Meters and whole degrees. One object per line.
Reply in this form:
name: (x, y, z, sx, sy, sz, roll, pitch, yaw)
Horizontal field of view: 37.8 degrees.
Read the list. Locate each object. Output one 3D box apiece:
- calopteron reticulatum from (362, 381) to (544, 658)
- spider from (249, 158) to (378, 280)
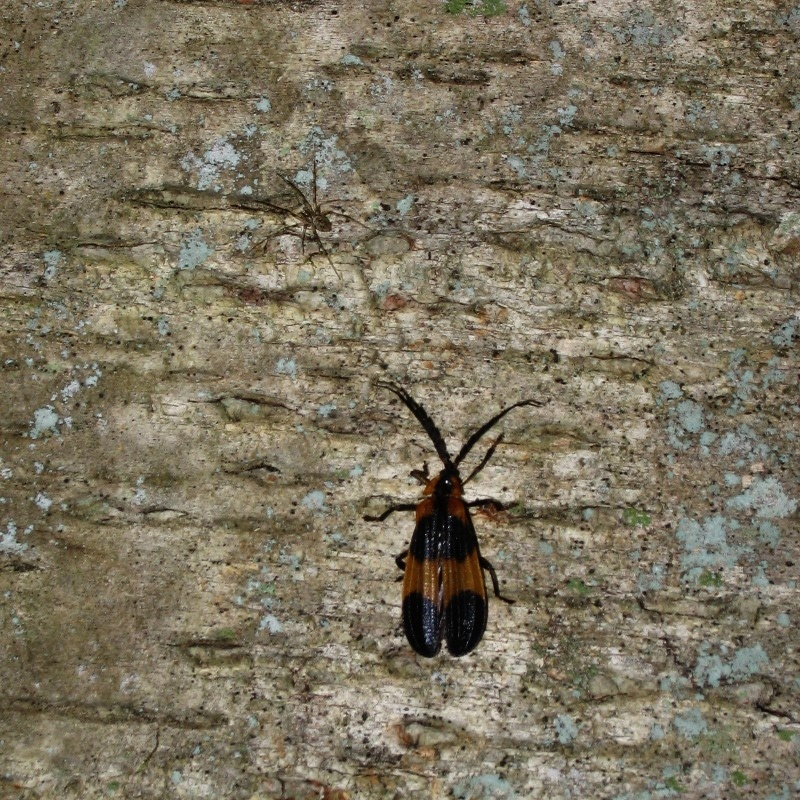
calopteron reticulatum: (0.207, 0.530, 4.721, 0.393, 0.119, 1.007, 1, 72, 5)
spider: (-0.418, -0.737, 4.935, 0.419, 0.108, 0.500, -31, 72, -5)
